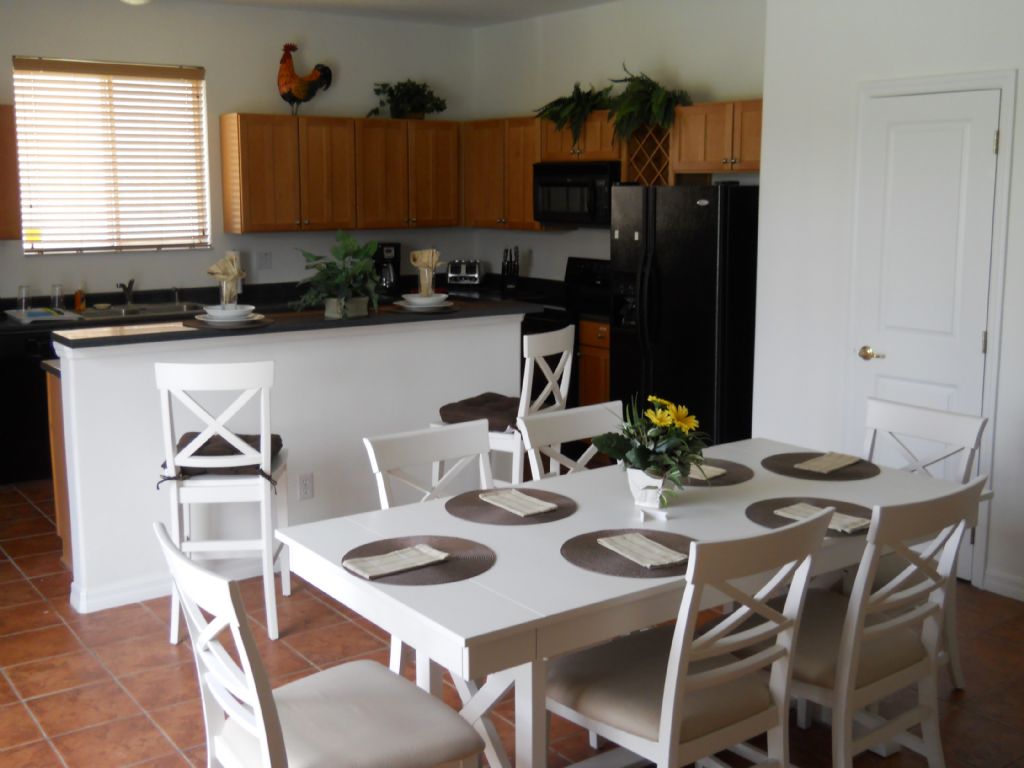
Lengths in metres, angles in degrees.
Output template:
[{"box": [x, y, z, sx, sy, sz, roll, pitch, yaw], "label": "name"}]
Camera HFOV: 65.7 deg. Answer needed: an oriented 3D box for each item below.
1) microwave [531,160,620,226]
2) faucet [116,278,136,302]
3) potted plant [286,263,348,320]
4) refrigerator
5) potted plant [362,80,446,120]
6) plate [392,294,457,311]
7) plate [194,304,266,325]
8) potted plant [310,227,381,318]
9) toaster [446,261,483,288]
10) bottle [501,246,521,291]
[{"box": [0.557, -1.518, 6.354, 0.747, 0.479, 0.436, 13, 21, 38], "label": "microwave"}, {"box": [-3.014, -0.721, 6.182, 0.127, 0.190, 0.135, -7, 16, -22], "label": "faucet"}, {"box": [-0.985, -0.505, 4.365, 0.352, 0.272, 0.462, -3, -2, 23], "label": "potted plant"}, {"box": [1.121, -0.467, 5.507, 0.938, 1.693, 0.670, 6, 16, 33], "label": "refrigerator"}, {"box": [-0.910, -2.480, 6.974, 0.483, 0.239, 0.485, -7, 14, -29], "label": "potted plant"}, {"box": [-0.518, -0.488, 4.652, 0.327, 0.091, 0.177, -1, 15, -4], "label": "plate"}, {"box": [-1.454, -0.355, 4.082, 0.321, 0.083, 0.175, -5, 16, -19], "label": "plate"}, {"box": [-0.946, -0.526, 4.310, 0.422, 0.347, 0.398, -4, 14, 1], "label": "potted plant"}, {"box": [-0.447, -1.045, 7.520, 0.351, 0.263, 0.359, 0, 15, 0], "label": "toaster"}, {"box": [-0.011, -1.069, 7.304, 0.150, 0.368, 0.343, 2, 15, 9], "label": "bottle"}]
